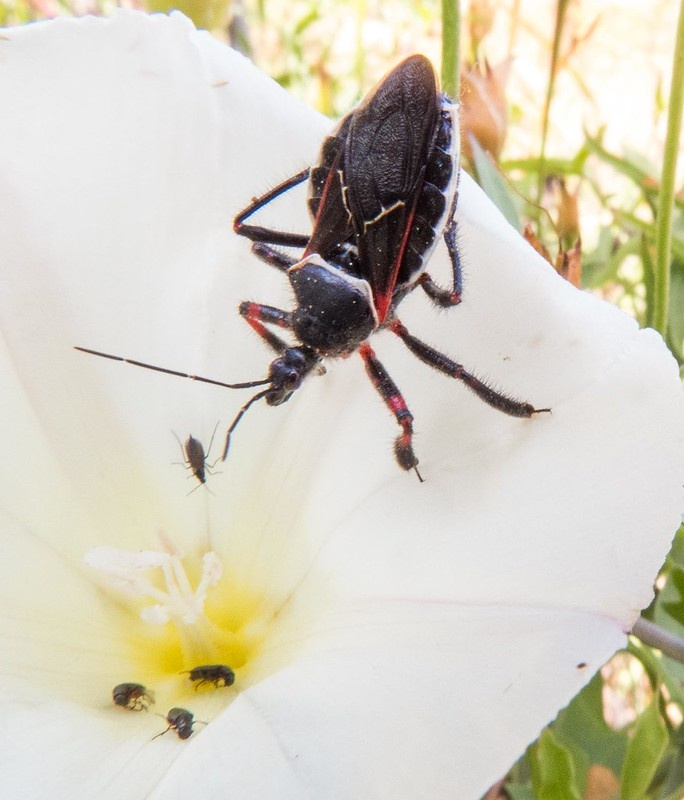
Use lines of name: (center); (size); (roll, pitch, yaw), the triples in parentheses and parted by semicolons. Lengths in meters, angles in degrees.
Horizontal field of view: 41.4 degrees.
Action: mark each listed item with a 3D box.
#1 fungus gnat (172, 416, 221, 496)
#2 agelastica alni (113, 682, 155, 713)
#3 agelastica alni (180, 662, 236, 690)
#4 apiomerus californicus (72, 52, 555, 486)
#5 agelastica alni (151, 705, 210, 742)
fungus gnat: (-0.153, 0.063, 0.960); (0.037, 0.069, 0.041); (4, 20, 34)
agelastica alni: (-0.205, 0.290, 0.879); (0.027, 0.008, 0.027); (13, 22, -27)
agelastica alni: (-0.133, 0.283, 0.918); (0.034, 0.012, 0.028); (2, 2, 28)
apiomerus californicus: (0.012, -0.121, 1.059); (0.194, 0.605, 0.514); (19, 52, 18)
agelastica alni: (-0.149, 0.299, 0.827); (0.047, 0.047, 0.014); (7, 77, 2)
